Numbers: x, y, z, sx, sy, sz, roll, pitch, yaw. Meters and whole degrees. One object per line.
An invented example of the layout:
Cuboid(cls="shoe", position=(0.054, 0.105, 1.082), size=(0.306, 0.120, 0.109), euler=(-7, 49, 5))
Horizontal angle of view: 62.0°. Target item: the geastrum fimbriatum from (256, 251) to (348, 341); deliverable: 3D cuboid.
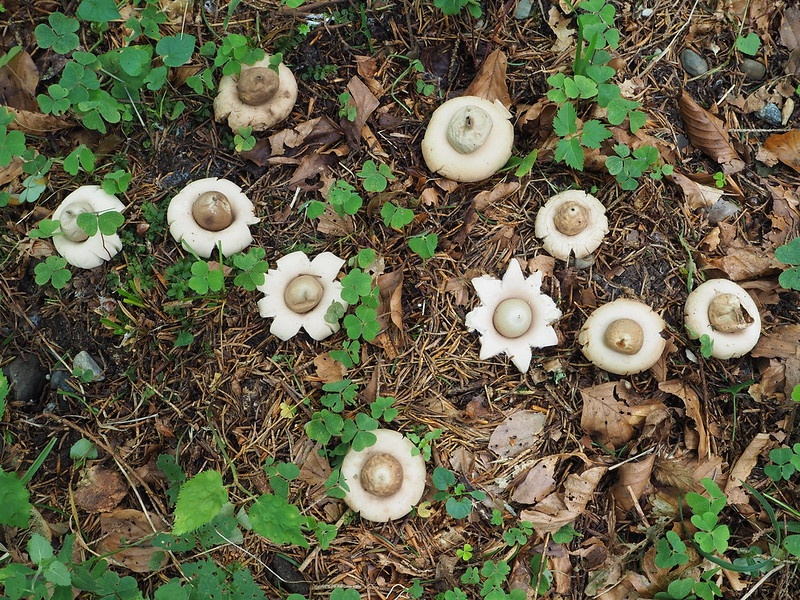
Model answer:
Cuboid(cls="geastrum fimbriatum", position=(-0.653, -0.031, 4.536), size=(0.593, 0.280, 0.595), euler=(-1, 84, -1))

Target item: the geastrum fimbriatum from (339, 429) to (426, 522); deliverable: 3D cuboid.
Cuboid(cls="geastrum fimbriatum", position=(-0.109, 1.150, 4.377), size=(0.554, 0.141, 0.601), euler=(3, 86, 1))

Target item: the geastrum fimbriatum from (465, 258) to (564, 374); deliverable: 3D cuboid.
Cuboid(cls="geastrum fimbriatum", position=(0.731, 0.129, 4.330), size=(0.679, 0.298, 0.737), euler=(23, 78, 2))

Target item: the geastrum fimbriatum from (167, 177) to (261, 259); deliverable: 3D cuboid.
Cuboid(cls="geastrum fimbriatum", position=(-1.282, -0.632, 4.601), size=(0.622, 0.270, 0.692), euler=(-15, 63, -16))

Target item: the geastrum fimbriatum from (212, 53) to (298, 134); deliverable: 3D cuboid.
Cuboid(cls="geastrum fimbriatum", position=(-1.020, -1.417, 4.666), size=(0.592, 0.274, 0.409), euler=(-8, 84, -2))

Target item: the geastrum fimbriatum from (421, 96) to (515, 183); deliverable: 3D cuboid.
Cuboid(cls="geastrum fimbriatum", position=(0.480, -1.123, 4.554), size=(0.584, 0.266, 0.573), euler=(20, 84, 1))

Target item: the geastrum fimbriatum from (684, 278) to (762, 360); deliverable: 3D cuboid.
Cuboid(cls="geastrum fimbriatum", position=(2.205, 0.120, 4.504), size=(0.511, 0.262, 0.465), euler=(43, 85, 3))

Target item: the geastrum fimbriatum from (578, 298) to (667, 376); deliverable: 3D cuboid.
Cuboid(cls="geastrum fimbriatum", position=(1.511, 0.243, 4.487), size=(0.558, 0.302, 0.497), euler=(-12, 84, -3))
